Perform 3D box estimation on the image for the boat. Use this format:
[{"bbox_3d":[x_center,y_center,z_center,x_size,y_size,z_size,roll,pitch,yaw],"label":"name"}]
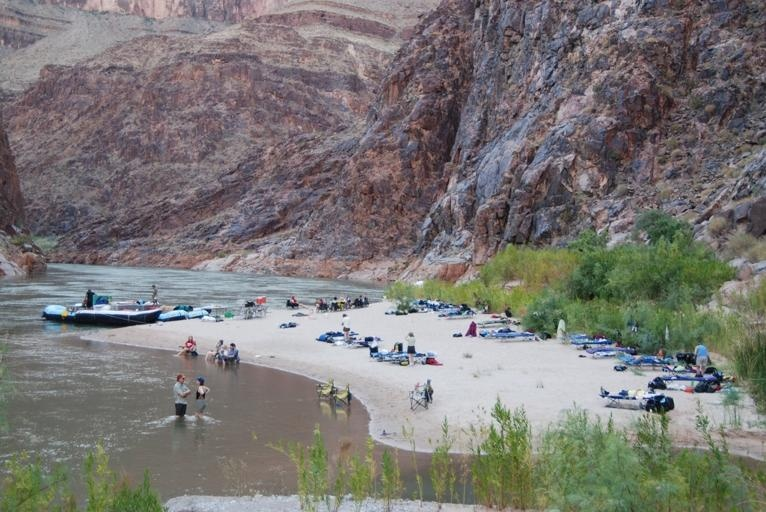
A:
[{"bbox_3d":[-42.540,9.725,192.350,16.441,3.348,10.211,0,1,-1],"label":"boat"}]
